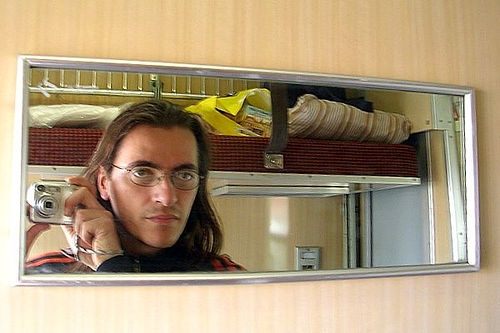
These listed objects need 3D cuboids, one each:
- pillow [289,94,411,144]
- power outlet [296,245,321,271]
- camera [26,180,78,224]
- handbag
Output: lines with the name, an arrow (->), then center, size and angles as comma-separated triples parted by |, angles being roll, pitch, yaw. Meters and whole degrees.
pillow -> 0.234, -0.094, 1.482 | 0.188, 0.058, 0.156 | 3, -4, -21
power outlet -> 0.134, 0.214, 1.442 | 0.074, 0.061, 0.038 | 1, -1, -1
camera -> -0.455, 0.078, 1.380 | 0.116, 0.087, 0.055 | 2, -2, -23
handbag -> -0.036, -0.152, 1.510 | 0.248, 0.083, 0.226 | 17, 27, 41
